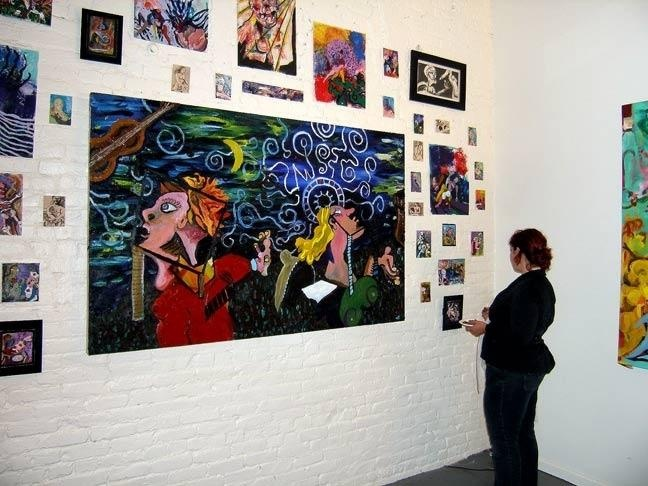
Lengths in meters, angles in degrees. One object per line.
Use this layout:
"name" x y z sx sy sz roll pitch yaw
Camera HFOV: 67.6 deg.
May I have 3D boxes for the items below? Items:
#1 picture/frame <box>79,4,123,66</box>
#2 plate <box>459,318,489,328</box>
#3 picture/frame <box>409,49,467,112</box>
"picture/frame" -1.314 -1.237 2.872 0.226 0.322 0.027 3 -8 -21
"plate" 1.167 0.626 3.786 0.173 0.048 0.211 2 -1 -38
"picture/frame" 0.903 -1.321 3.912 0.532 0.397 0.018 1 0 -34
